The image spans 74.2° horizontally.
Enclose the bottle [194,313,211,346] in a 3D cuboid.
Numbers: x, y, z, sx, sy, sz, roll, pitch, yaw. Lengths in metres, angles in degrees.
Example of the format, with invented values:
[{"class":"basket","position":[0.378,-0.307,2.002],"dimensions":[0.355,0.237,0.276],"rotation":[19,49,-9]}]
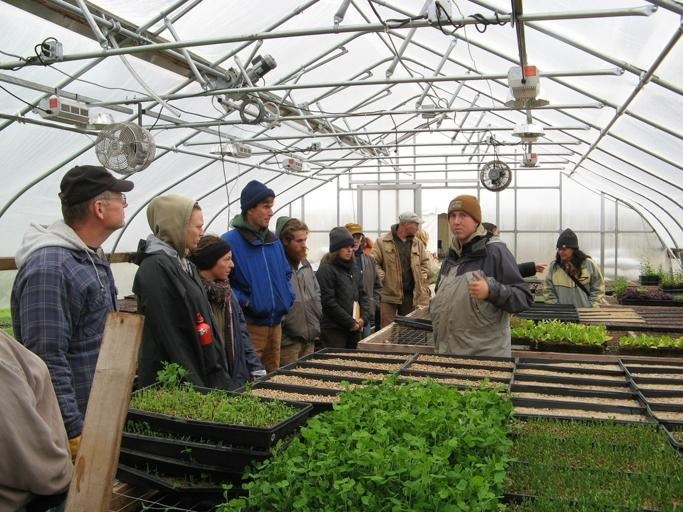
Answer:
[{"class":"bottle","position":[-0.859,0.448,2.830],"dimensions":[0.077,0.207,0.113],"rotation":[-2,-1,4]}]

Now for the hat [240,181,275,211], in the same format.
[{"class":"hat","position":[-0.781,-0.553,4.182],"dimensions":[0.289,0.264,0.273],"rotation":[-12,4,2]}]

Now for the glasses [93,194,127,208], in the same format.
[{"class":"glasses","position":[-1.415,-0.365,2.774],"dimensions":[0.116,0.062,0.153],"rotation":[0,13,29]}]

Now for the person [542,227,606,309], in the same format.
[{"class":"person","position":[3.408,0.287,6.706],"dimensions":[0.802,1.229,0.664],"rotation":[1,19,34]}]

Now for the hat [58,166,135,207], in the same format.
[{"class":"hat","position":[-1.478,-0.428,2.769],"dimensions":[0.379,0.198,0.232],"rotation":[-15,24,-35]}]

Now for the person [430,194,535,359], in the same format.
[{"class":"person","position":[1.122,0.162,3.784],"dimensions":[0.844,1.127,0.640],"rotation":[-2,-1,20]}]

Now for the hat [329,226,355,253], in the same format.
[{"class":"hat","position":[-0.033,-0.229,5.816],"dimensions":[0.316,0.295,0.317],"rotation":[2,8,22]}]

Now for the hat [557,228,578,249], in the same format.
[{"class":"hat","position":[3.205,-0.246,6.464],"dimensions":[0.285,0.278,0.324],"rotation":[1,-7,27]}]

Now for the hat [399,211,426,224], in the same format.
[{"class":"hat","position":[1.187,-0.660,7.645],"dimensions":[0.446,0.206,0.311],"rotation":[0,10,0]}]

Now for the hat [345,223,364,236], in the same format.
[{"class":"hat","position":[0.199,-0.485,7.901],"dimensions":[0.232,0.159,0.313],"rotation":[3,-5,-8]}]

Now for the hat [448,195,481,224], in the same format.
[{"class":"hat","position":[1.076,-0.452,3.937],"dimensions":[0.247,0.201,0.259],"rotation":[6,-16,20]}]
